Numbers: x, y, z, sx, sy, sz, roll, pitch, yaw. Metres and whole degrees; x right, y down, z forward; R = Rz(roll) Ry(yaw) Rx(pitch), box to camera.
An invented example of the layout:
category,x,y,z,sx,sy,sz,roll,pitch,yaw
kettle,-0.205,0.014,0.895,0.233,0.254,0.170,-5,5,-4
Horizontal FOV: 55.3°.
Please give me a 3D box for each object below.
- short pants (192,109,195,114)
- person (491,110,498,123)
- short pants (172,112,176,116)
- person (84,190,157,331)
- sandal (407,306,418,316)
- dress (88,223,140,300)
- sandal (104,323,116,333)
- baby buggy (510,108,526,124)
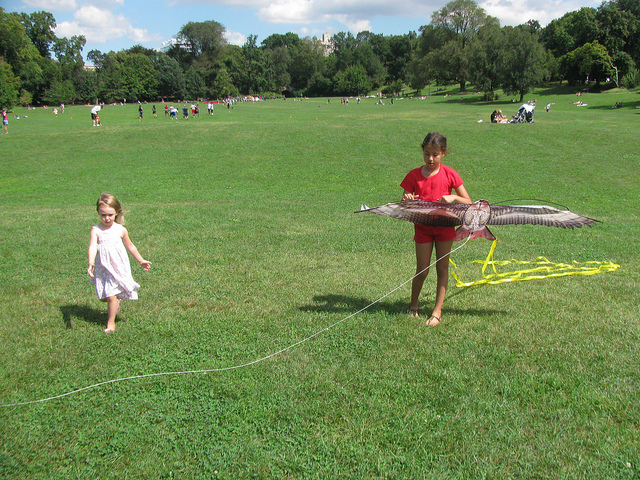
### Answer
category,x,y,z,sx,sy,sz,roll,pitch,yaw
short pants,-11.626,-11.840,56.120,0.211,0.409,0.508,-4,16,-16
person,10.910,-7.738,38.241,0.337,0.685,1.343,4,16,13
short pants,-12.656,-10.946,52.900,0.252,0.300,0.426,-1,16,-3
person,-3.892,0.379,11.413,0.717,2.449,1.012,11,18,34
sandal,1.791,1.381,11.802,0.151,0.192,0.459,1,3,-10
dress,-4.012,0.397,11.735,0.812,1.428,0.571,-9,5,-22
sandal,-3.888,1.660,11.357,0.237,0.043,0.174,-12,20,-35
baby buggy,12.032,-7.591,36.882,0.639,0.871,1.705,3,16,10
